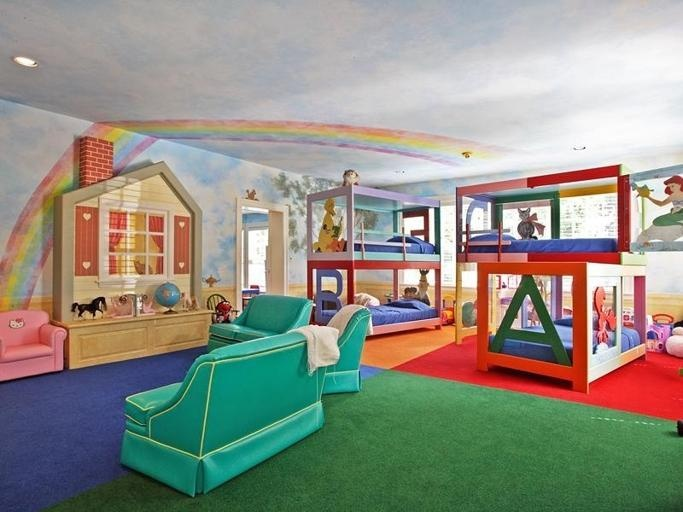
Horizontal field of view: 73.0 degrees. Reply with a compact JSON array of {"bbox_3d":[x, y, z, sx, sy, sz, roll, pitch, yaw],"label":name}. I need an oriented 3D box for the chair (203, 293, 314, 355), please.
[{"bbox_3d":[-1.148,1.014,6.446,0.848,0.862,1.428,1,0,-41],"label":"chair"}]

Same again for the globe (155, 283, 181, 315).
[{"bbox_3d":[-2.762,0.671,7.377,0.466,0.534,0.453,1,-5,-11],"label":"globe"}]

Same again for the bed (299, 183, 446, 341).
[{"bbox_3d":[0.698,0.234,9.335,1.425,2.672,2.901,0,-1,42],"label":"bed"}]

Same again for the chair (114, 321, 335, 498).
[{"bbox_3d":[-1.041,1.329,4.560,1.215,1.083,1.897,0,-1,33],"label":"chair"}]

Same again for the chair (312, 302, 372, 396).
[{"bbox_3d":[-0.135,1.117,5.667,0.981,0.941,0.895,0,0,5],"label":"chair"}]

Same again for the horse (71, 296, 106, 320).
[{"bbox_3d":[-3.636,0.753,6.707,0.252,0.281,0.524,9,12,44],"label":"horse"}]
